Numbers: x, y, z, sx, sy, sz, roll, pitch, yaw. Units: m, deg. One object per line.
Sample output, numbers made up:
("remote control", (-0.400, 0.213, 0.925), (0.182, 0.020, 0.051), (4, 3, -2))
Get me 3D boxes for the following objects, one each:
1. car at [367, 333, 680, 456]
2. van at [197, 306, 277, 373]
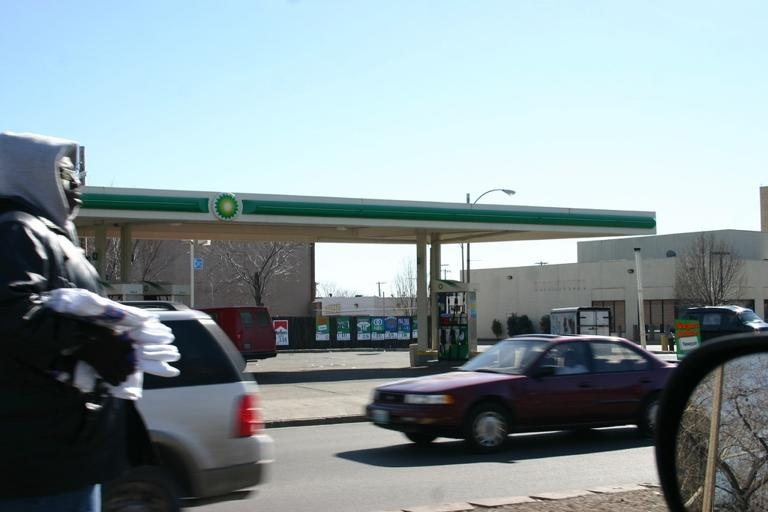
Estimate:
("car", (2.287, 2.195, 11.345), (4.608, 1.805, 1.156), (-1, -1, -21))
("van", (-7.070, 3.514, 31.028), (4.373, 2.261, 2.696), (0, 0, 43))
